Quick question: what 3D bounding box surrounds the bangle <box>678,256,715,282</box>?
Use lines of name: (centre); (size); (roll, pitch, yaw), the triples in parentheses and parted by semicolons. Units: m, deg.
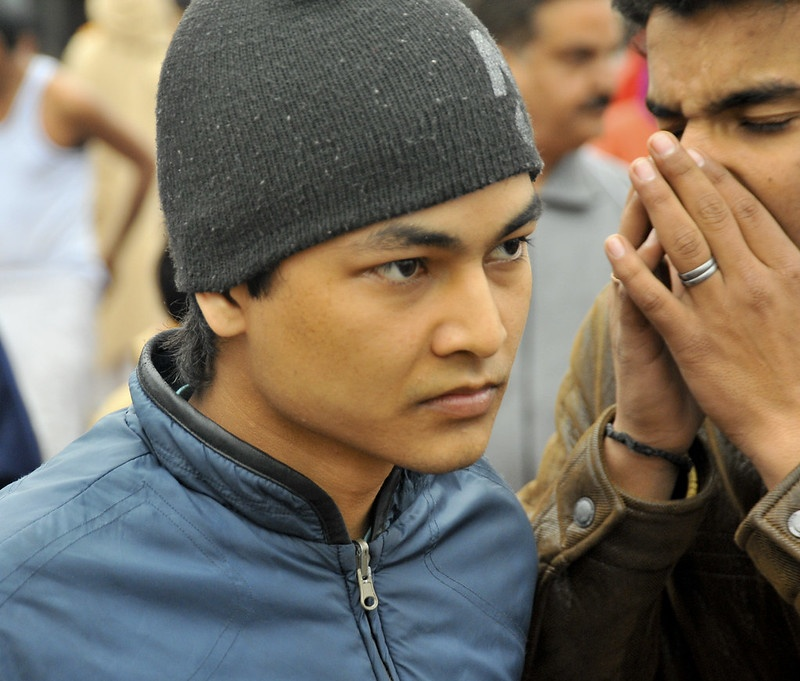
bangle: (0.805, -0.195, 3.168); (0.080, 0.023, 0.076); (-17, -2, 33)

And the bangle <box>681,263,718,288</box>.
bangle: (0.812, -0.181, 3.170); (0.087, 0.025, 0.076); (-20, 4, 9)
